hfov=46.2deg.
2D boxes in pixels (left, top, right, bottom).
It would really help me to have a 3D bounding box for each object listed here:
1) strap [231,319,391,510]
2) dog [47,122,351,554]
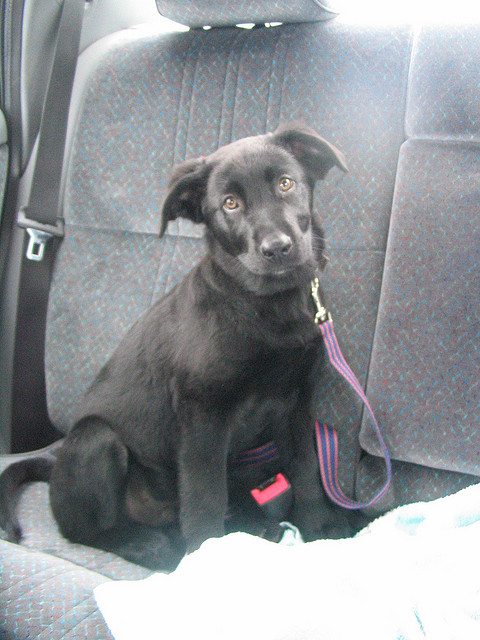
[{"bbox_3d":[0.189,0.250,1.319,0.406,0.319,0.106,-16,19,18],"label":"strap"},{"bbox_3d":[-0.155,0.024,1.330,0.515,1.004,0.427,9,19,15],"label":"dog"}]
